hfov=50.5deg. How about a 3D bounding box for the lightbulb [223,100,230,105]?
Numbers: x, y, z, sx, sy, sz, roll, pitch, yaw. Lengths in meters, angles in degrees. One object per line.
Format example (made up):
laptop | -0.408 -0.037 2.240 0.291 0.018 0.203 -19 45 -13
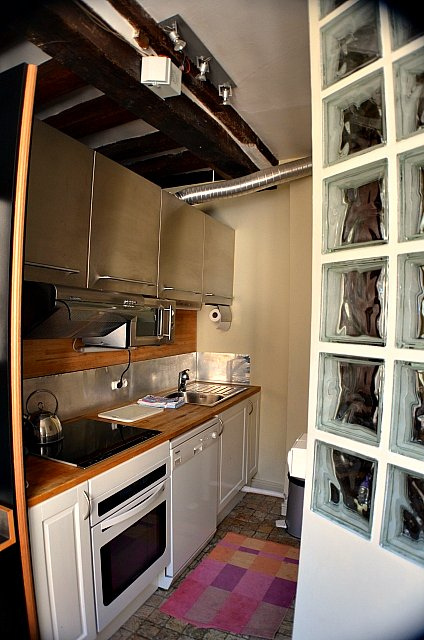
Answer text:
lightbulb | 0.075 -1.082 2.238 0.026 0.018 0.036 -2 6 -3

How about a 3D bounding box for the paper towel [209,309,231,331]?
paper towel | 0.052 -0.003 3.593 0.116 0.212 0.199 5 1 -3

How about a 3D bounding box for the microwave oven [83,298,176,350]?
microwave oven | -0.454 0.019 2.567 0.307 0.278 0.551 2 0 21

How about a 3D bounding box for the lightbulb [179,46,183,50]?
lightbulb | -0.120 -1.078 1.787 0.012 0.013 0.022 0 1 14

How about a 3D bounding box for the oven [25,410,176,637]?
oven | -0.510 0.784 2.347 0.821 1.130 0.646 4 9 30

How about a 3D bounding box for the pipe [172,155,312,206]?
pipe | 0.179 -0.872 2.871 0.948 0.254 0.135 2 0 28

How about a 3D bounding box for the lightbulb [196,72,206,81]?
lightbulb | -0.046 -1.065 1.967 0.028 0.034 0.034 10 35 2
